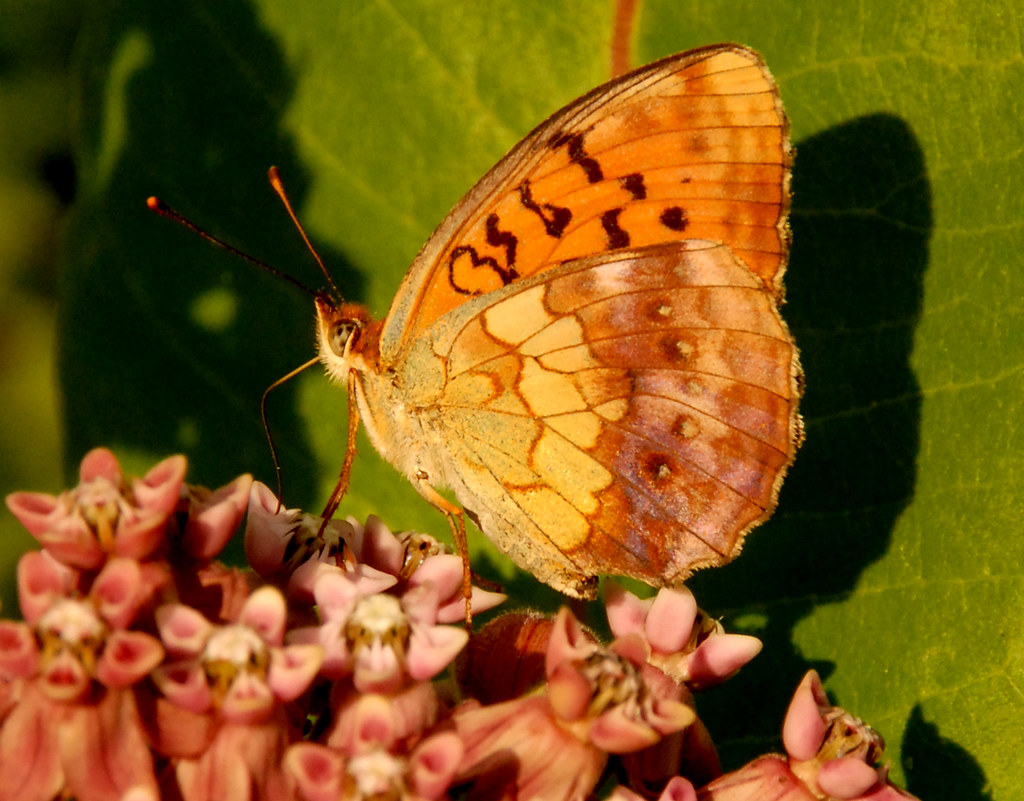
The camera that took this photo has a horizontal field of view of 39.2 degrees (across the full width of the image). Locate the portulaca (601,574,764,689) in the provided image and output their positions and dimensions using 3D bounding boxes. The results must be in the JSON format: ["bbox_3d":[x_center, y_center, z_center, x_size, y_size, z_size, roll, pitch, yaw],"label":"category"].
[{"bbox_3d":[0.287,0.402,2.466,0.265,0.159,0.122,15,12,41],"label":"portulaca"}]
